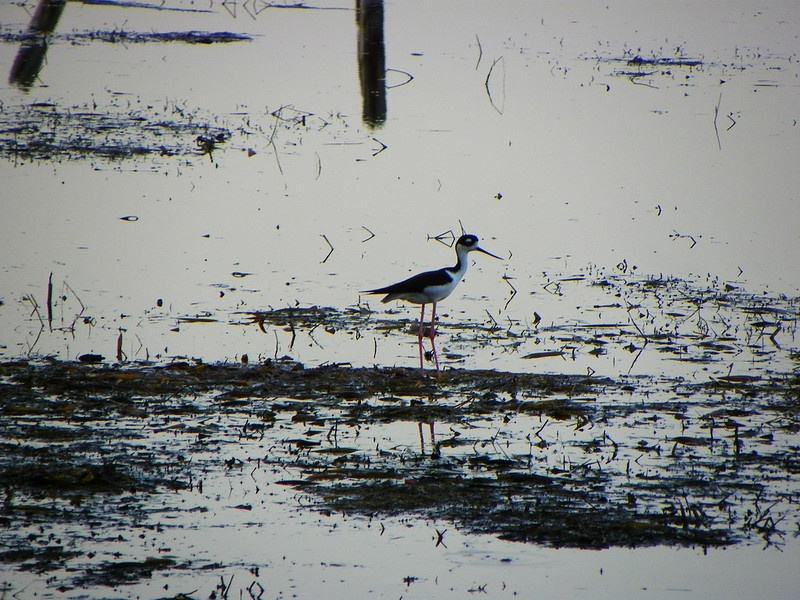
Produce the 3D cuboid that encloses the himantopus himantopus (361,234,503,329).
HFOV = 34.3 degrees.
[{"bbox_3d":[0.403,-0.116,16.993,2.011,1.312,0.475,-3,4,-21],"label":"himantopus himantopus"}]
